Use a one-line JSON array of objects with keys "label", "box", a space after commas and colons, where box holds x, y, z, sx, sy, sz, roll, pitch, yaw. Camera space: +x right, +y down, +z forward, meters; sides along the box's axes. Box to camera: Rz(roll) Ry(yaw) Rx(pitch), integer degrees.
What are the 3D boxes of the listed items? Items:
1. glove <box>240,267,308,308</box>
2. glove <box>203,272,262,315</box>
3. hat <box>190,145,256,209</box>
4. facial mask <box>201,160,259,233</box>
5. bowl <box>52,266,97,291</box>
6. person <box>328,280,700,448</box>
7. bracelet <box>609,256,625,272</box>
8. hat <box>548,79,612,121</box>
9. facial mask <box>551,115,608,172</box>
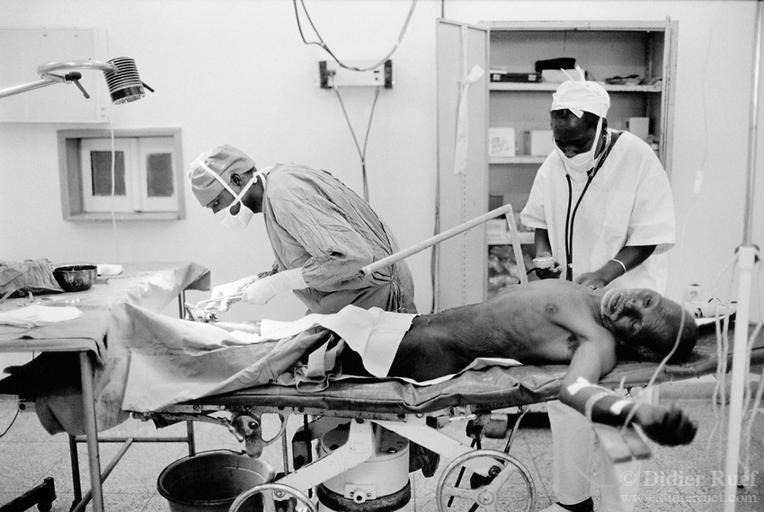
[{"label": "glove", "box": [-0.548, 0.127, 4.899, 0.301, 0.106, 0.184, -17, -24, 13]}, {"label": "glove", "box": [-0.799, 0.237, 5.135, 0.243, 0.071, 0.240, -19, 9, 8]}, {"label": "hat", "box": [-0.853, -0.444, 5.107, 0.331, 0.255, 0.241, -40, 23, 0]}, {"label": "facial mask", "box": [-0.748, -0.305, 5.043, 0.192, 0.318, 0.332, -3, 5, -38]}, {"label": "bowl", "box": [-1.599, 0.110, 5.074, 0.157, 0.088, 0.158, 0, 1, 0]}, {"label": "person", "box": [0.637, 0.355, 4.685, 1.761, 0.437, 1.324, -3, 20, 25]}, {"label": "bracelet", "box": [1.202, 0.045, 4.886, 0.081, 0.068, 0.073, 3, 10, 25]}, {"label": "hat", "box": [1.003, -0.795, 4.871, 0.254, 0.193, 0.193, -8, 15, -24]}, {"label": "facial mask", "box": [0.991, -0.566, 4.865, 0.231, 0.278, 0.176, 11, -6, 19]}]
